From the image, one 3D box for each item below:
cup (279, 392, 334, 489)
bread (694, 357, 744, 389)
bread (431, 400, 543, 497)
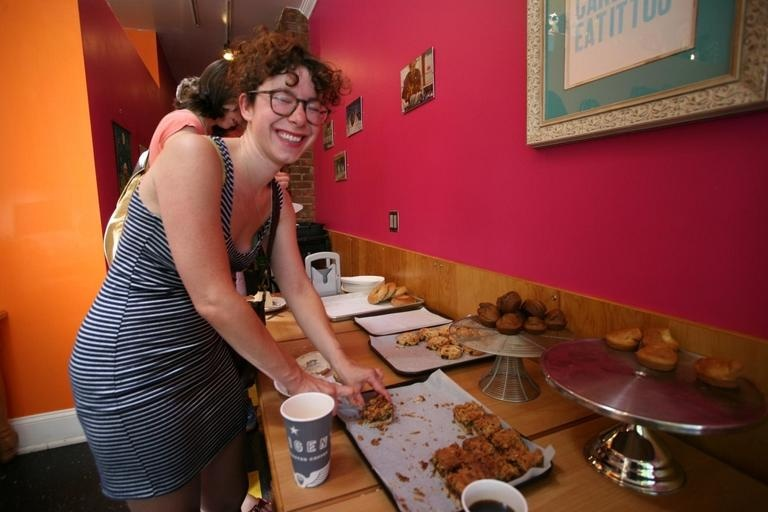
[{"bbox_3d":[-0.236,0.601,1.659,0.167,0.280,0.116,-7,14,-10],"label":"cup"},{"bbox_3d":[1.062,0.364,1.597,0.133,0.076,0.086,2,15,26],"label":"bread"},{"bbox_3d":[0.321,0.623,1.640,0.243,0.077,0.244,-20,37,-11],"label":"bread"}]
